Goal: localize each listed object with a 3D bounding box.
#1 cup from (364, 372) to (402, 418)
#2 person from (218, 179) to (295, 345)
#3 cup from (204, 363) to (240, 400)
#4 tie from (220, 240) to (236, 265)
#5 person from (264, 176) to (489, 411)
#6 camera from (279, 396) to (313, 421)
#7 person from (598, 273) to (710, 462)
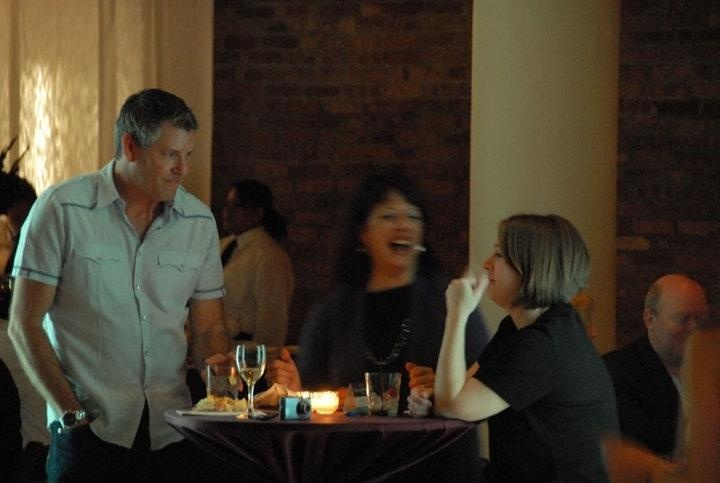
[{"bbox_3d":[0.092,0.651,3.732,0.166,0.192,0.180,1,-7,0],"label":"cup"},{"bbox_3d":[-0.628,0.154,5.254,0.414,1.308,0.546,6,-21,-15],"label":"person"},{"bbox_3d":[-0.572,0.574,3.614,0.141,0.152,0.131,0,-5,0],"label":"cup"},{"bbox_3d":[-0.802,0.062,5.290,0.145,0.044,0.042,-42,-6,-31],"label":"tie"},{"bbox_3d":[0.080,0.328,4.505,1.092,1.356,0.692,-2,22,-9],"label":"person"},{"bbox_3d":[-0.264,0.668,3.499,0.143,0.103,0.081,2,-12,-8],"label":"camera"},{"bbox_3d":[1.526,0.630,4.364,0.871,0.812,0.467,5,-3,-26],"label":"person"}]
